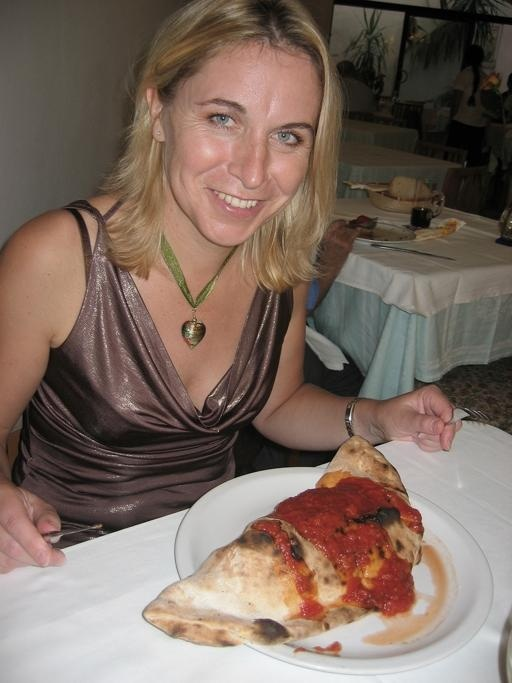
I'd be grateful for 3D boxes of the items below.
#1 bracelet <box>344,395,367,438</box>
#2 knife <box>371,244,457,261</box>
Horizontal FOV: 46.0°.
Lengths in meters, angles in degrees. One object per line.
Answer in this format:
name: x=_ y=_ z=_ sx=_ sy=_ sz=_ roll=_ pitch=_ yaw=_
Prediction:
bracelet: x=0.210 y=0.158 z=1.284 sx=0.027 sy=0.073 sz=0.084 roll=4 pitch=23 yaw=26
knife: x=0.653 y=-0.369 z=2.512 sx=0.375 sy=0.044 sz=0.018 roll=14 pitch=3 yaw=20
